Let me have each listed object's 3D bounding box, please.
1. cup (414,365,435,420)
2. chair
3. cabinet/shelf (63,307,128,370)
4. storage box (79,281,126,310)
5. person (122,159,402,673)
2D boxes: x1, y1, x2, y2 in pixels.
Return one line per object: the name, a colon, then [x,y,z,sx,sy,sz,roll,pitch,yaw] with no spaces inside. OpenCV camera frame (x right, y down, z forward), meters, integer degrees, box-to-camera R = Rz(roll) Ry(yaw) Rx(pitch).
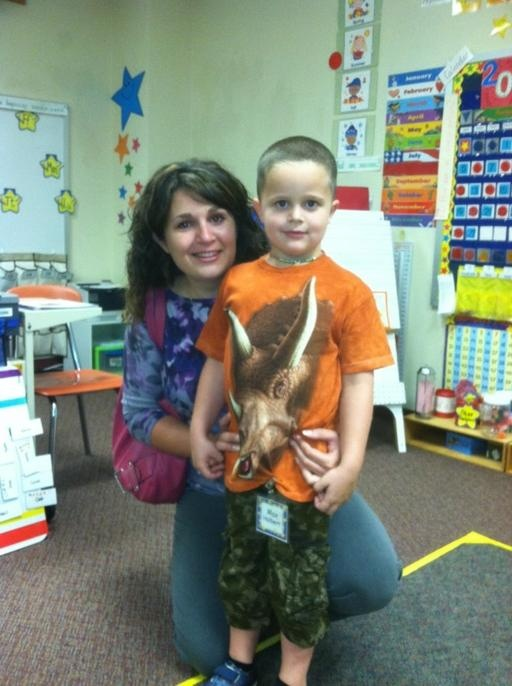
cup: [0.965,0.262,2.993,0.103,0.263,0.240,2,11,19]
chair: [-0.855,0.121,2.386,0.518,0.769,0.565,0,8,-20]
cabinet/shelf: [-1.113,-0.019,3.614,0.424,0.463,0.295,1,17,-38]
storage box: [-1.150,-0.356,3.958,0.427,0.161,0.383,-6,13,-31]
person: [-0.044,0.111,1.185,0.546,1.024,0.529,11,28,44]
